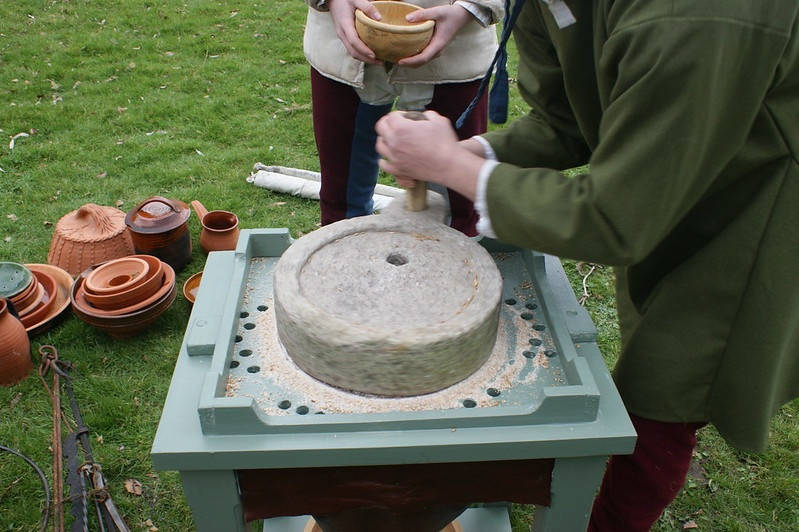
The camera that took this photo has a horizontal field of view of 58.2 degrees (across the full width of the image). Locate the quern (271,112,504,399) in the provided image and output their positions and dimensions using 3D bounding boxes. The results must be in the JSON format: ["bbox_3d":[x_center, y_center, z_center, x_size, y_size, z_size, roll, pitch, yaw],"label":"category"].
[{"bbox_3d":[-0.029,0.066,3.260,0.978,0.341,1.294,3,31,2],"label":"quern"}]
